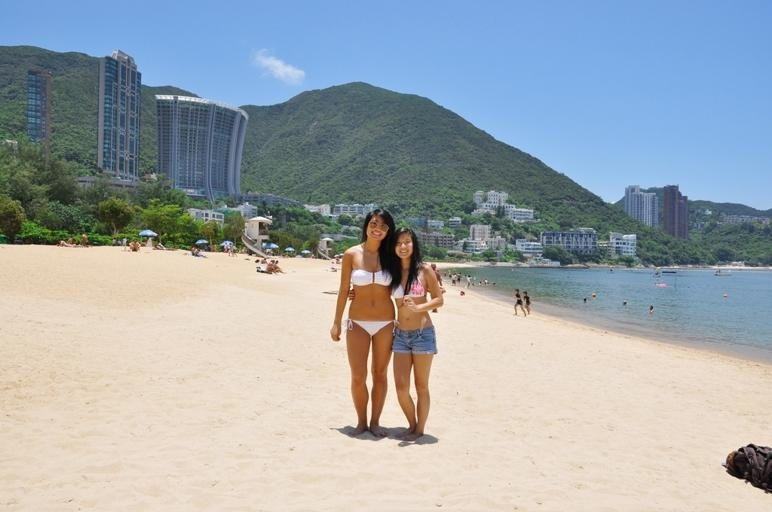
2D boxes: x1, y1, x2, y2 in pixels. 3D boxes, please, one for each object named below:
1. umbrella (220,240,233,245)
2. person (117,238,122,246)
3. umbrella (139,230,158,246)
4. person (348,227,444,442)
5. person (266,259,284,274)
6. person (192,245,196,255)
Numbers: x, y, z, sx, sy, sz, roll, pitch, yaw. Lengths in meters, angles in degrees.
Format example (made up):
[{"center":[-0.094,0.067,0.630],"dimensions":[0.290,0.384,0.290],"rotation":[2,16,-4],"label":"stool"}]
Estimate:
[{"center":[-16.093,-1.262,67.298],"dimensions":[0.769,0.342,0.759],"rotation":[-1,2,2],"label":"umbrella"},{"center":[-21.002,-1.028,52.576],"dimensions":[0.423,0.387,0.700],"rotation":[8,5,-24],"label":"person"},{"center":[-20.591,-1.490,57.948],"dimensions":[1.770,1.533,1.730],"rotation":[2,0,-11],"label":"umbrella"},{"center":[0.505,1.583,12.970],"dimensions":[0.962,4.133,0.880],"rotation":[5,13,3],"label":"person"},{"center":[-7.278,0.940,43.037],"dimensions":[1.169,0.752,1.483],"rotation":[2,7,-10],"label":"person"},{"center":[-15.432,-0.438,53.733],"dimensions":[0.586,0.761,0.260],"rotation":[0,-17,-18],"label":"person"}]
